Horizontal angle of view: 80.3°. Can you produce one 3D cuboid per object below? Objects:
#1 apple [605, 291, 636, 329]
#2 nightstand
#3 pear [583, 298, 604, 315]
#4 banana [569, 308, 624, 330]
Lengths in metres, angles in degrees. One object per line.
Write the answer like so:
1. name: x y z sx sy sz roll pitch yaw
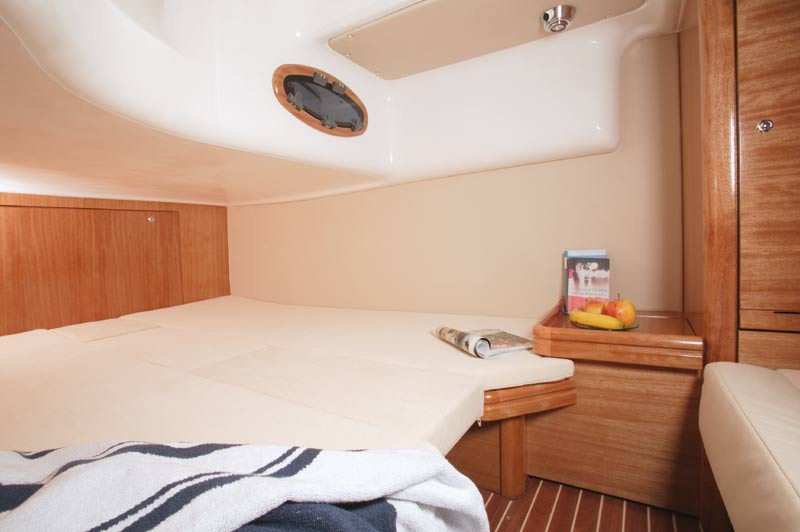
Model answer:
1. apple: 1.013 0.207 2.231 0.139 0.159 0.140 -24 -26 37
2. nightstand: 0.962 0.535 2.421 0.953 0.888 0.770 1 3 26
3. pear: 0.908 0.187 2.242 0.073 0.077 0.067 2 4 -8
4. banana: 0.893 0.226 2.198 0.251 0.074 0.073 10 9 36
